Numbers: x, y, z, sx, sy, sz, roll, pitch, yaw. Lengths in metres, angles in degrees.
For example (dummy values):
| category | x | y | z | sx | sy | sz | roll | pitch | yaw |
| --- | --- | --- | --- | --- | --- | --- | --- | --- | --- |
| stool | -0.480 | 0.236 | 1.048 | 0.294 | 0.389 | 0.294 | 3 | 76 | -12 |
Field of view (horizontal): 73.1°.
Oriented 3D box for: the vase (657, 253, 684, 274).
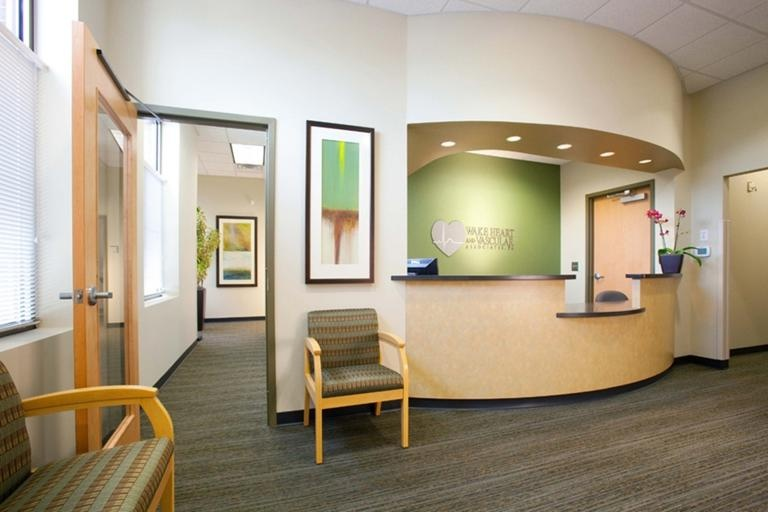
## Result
| category | x | y | z | sx | sy | sz | roll | pitch | yaw |
| --- | --- | --- | --- | --- | --- | --- | --- | --- | --- |
| vase | 3.639 | 0.109 | 6.540 | 0.257 | 0.247 | 0.329 | 1 | 4 | 26 |

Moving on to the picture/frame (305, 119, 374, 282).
| category | x | y | z | sx | sy | sz | roll | pitch | yaw |
| --- | --- | --- | --- | --- | --- | --- | --- | --- | --- |
| picture/frame | -0.445 | -0.535 | 5.235 | 0.697 | 1.610 | 0.204 | -1 | 4 | -8 |

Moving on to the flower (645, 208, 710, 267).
| category | x | y | z | sx | sy | sz | roll | pitch | yaw |
| --- | --- | --- | --- | --- | --- | --- | --- | --- | --- |
| flower | 3.874 | -0.167 | 6.914 | 0.859 | 0.851 | 0.820 | -1 | 0 | -19 |

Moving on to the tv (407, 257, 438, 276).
| category | x | y | z | sx | sy | sz | roll | pitch | yaw |
| --- | --- | --- | --- | --- | --- | --- | --- | --- | --- |
| tv | 0.436 | 0.125 | 5.949 | 0.325 | 0.172 | 0.210 | 1 | 4 | 23 |

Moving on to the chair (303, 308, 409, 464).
| category | x | y | z | sx | sy | sz | roll | pitch | yaw |
| --- | --- | --- | --- | --- | --- | --- | --- | --- | --- |
| chair | -0.392 | 1.147 | 5.169 | 1.137 | 1.482 | 1.208 | 1 | -8 | -17 |
